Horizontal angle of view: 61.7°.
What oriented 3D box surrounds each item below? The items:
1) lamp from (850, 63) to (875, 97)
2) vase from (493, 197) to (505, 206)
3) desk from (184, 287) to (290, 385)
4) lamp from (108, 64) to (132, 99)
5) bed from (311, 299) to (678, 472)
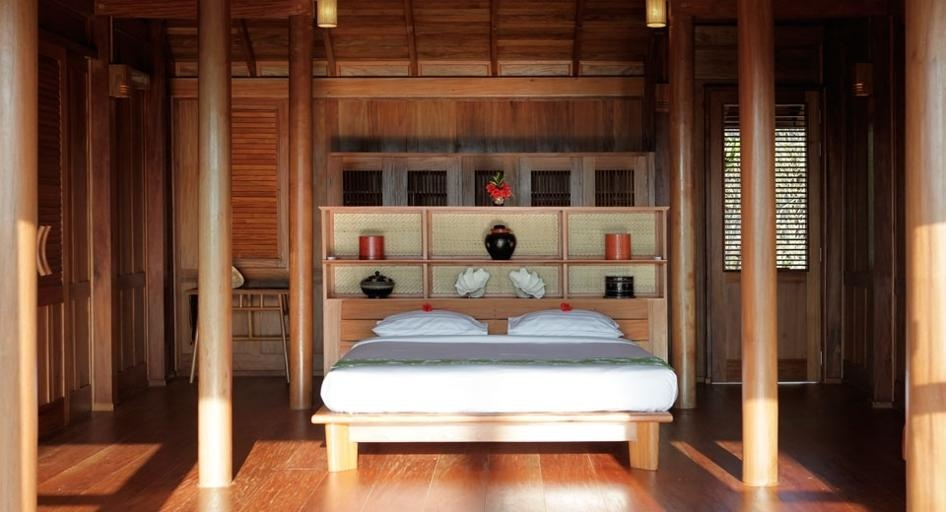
[{"bbox_3d":[4.211,-1.910,8.568,0.213,0.356,0.451,5,13,23],"label":"lamp"},{"bbox_3d":[0.265,-0.606,8.767,0.131,0.051,0.142,1,5,1],"label":"vase"},{"bbox_3d":[-2.816,0.928,9.559,1.335,0.990,0.908,-1,2,-20],"label":"desk"},{"bbox_3d":[-3.872,-1.890,8.577,0.147,0.354,0.328,3,13,16],"label":"lamp"},{"bbox_3d":[0.209,1.162,7.645,3.596,1.103,1.899,0,12,0],"label":"bed"}]
